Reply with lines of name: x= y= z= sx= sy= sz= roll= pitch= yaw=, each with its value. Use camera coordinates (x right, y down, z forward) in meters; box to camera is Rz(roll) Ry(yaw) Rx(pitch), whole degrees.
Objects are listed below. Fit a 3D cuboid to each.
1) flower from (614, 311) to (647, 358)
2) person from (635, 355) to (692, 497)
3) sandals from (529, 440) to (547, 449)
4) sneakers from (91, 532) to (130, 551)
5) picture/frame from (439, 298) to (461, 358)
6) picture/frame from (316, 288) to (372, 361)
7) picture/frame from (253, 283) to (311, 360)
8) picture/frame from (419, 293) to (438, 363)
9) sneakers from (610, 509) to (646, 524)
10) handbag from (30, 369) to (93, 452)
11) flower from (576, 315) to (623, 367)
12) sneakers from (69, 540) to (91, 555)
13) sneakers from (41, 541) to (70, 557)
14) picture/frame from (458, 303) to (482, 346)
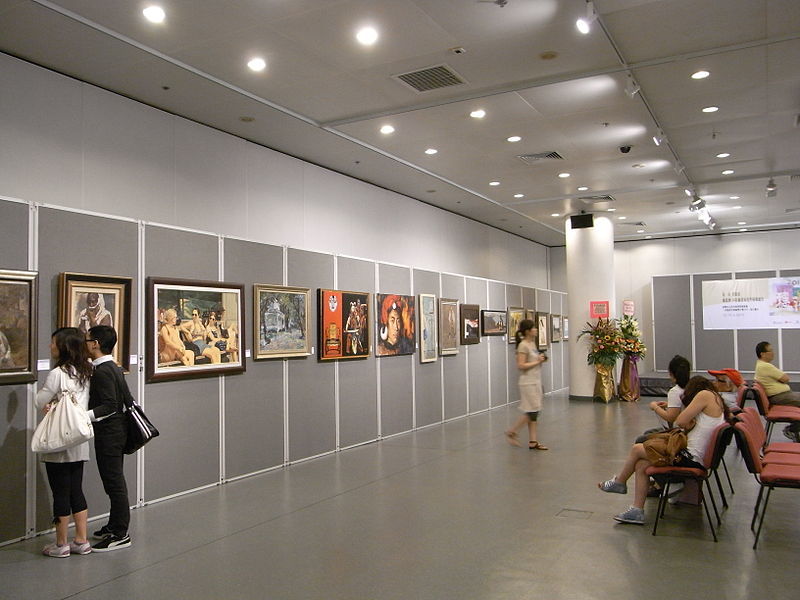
flower: x=6.486 y=1.127 z=15.582 sx=0.879 sy=1.074 sz=0.890 roll=13 pitch=22 yaw=42
person: x=3.123 y=1.512 z=6.540 sx=0.666 sy=1.483 sz=0.544 roll=-2 pitch=-3 yaw=39
sandals: x=2.354 y=2.489 z=9.397 sx=0.346 sy=0.155 sz=0.126 roll=-2 pitch=-2 yaw=12
sneakers: x=-2.864 y=2.416 z=5.462 sx=0.342 sy=0.165 sz=0.152 roll=9 pitch=-6 yaw=-19
picture/frame: x=1.115 y=0.654 z=12.536 sx=0.090 sy=1.431 sz=1.228 roll=-3 pitch=-5 yaw=26
picture/frame: x=-1.031 y=0.431 z=9.593 sx=0.115 sy=1.125 sz=1.201 roll=-3 pitch=-4 yaw=33
picture/frame: x=-1.866 y=0.333 z=8.452 sx=0.080 sy=1.196 sz=1.095 roll=-5 pitch=-6 yaw=35
picture/frame: x=0.620 y=0.605 z=11.888 sx=0.170 sy=1.444 sz=0.805 roll=-2 pitch=-2 yaw=26
sneakers: x=2.468 y=2.310 z=5.923 sx=0.348 sy=0.193 sz=0.142 roll=1 pitch=-6 yaw=21
handbag: x=-3.247 y=1.073 z=5.274 sx=0.599 sy=0.866 sz=0.296 roll=-13 pitch=-15 yaw=-8
flower: x=5.585 y=1.185 z=15.517 sx=1.040 sy=1.559 sz=1.286 roll=3 pitch=-6 yaw=-19
sneakers: x=-3.123 y=2.431 z=5.388 sx=0.235 sy=0.107 sz=0.091 roll=4 pitch=-2 yaw=7
sneakers: x=-3.351 y=2.420 z=5.336 sx=0.272 sy=0.123 sz=0.119 roll=4 pitch=-1 yaw=7
picture/frame: x=1.721 y=0.583 z=13.432 sx=0.174 sy=1.022 sz=1.092 roll=-2 pitch=-2 yaw=26
